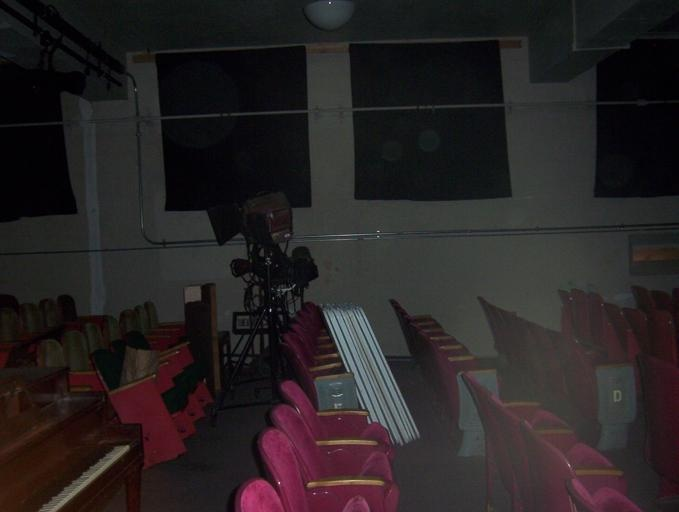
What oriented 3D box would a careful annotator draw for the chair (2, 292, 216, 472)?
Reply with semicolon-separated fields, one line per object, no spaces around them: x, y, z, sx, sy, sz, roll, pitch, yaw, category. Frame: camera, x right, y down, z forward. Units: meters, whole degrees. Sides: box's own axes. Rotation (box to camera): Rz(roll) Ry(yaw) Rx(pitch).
-1.917;1.150;5.406;0.982;1.270;1.265;-2;2;-4;chair
